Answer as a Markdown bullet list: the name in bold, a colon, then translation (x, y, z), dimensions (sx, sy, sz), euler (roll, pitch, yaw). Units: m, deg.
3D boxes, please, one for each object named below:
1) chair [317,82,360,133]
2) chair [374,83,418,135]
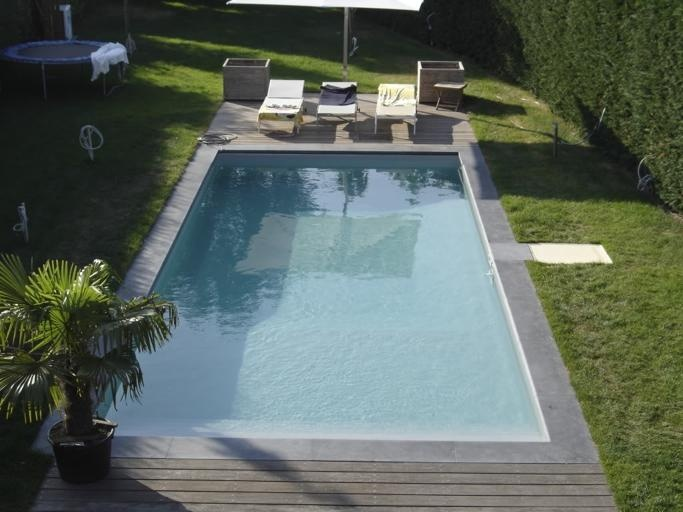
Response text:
- **chair**: translation (-0.063, -3.483, 13.665), dimensions (0.950, 0.884, 1.608), euler (7, 36, -1)
- **chair**: translation (1.286, -3.387, 13.591), dimensions (0.877, 0.820, 1.452), euler (3, 38, 6)
